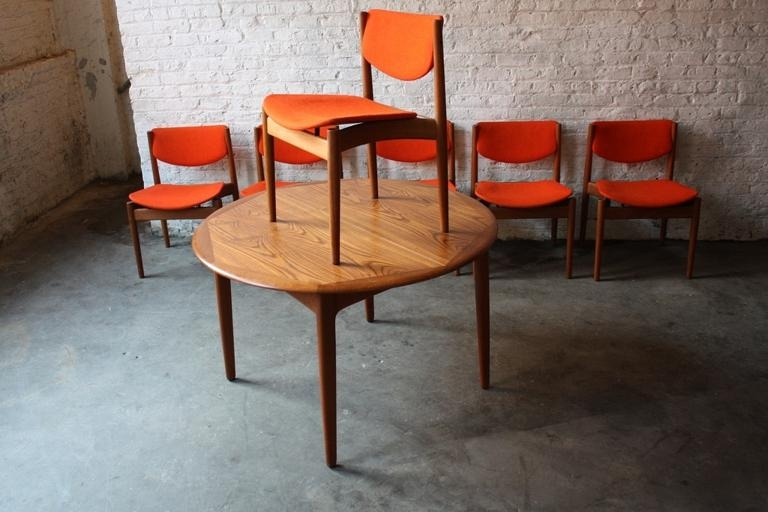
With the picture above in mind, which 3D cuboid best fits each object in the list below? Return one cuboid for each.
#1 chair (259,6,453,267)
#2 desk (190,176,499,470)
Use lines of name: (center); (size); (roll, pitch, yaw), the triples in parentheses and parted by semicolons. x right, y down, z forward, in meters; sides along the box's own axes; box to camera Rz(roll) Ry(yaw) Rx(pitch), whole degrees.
chair: (-0.167, -0.622, 2.982); (0.887, 1.072, 1.000); (-13, 30, -20)
desk: (-0.442, 0.326, 3.544); (1.831, 0.851, 1.732); (-18, 28, -35)
